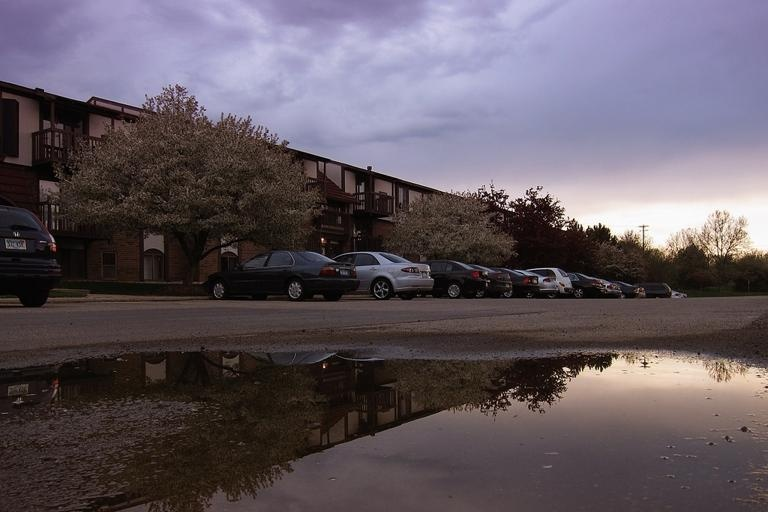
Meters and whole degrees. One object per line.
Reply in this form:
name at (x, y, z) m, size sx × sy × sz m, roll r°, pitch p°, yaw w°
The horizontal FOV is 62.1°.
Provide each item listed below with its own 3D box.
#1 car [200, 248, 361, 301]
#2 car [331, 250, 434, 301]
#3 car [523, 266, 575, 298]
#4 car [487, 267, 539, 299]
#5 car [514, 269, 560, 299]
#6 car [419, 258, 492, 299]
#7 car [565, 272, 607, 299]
car at (-3.045, 0.549, 19.355) m, size 4.065 × 1.254 × 1.779 m, roll 1°, pitch -3°, yaw 25°
car at (-0.114, 0.602, 20.681) m, size 3.285 × 1.090 × 1.434 m, roll 2°, pitch -1°, yaw 33°
car at (8.123, 1.279, 31.471) m, size 2.277 × 1.077 × 1.278 m, roll 1°, pitch -1°, yaw 27°
car at (5.803, 1.338, 30.055) m, size 2.782 × 0.946 × 1.224 m, roll 0°, pitch -2°, yaw 25°
car at (7.095, 1.298, 30.791) m, size 2.787 × 0.932 × 1.202 m, roll 0°, pitch -3°, yaw 22°
car at (2.962, 0.882, 24.820) m, size 2.657 × 0.959 × 1.210 m, roll 1°, pitch -2°, yaw 29°
car at (10.554, 1.542, 33.042) m, size 2.155 × 0.735 × 0.921 m, roll 2°, pitch -2°, yaw 29°
